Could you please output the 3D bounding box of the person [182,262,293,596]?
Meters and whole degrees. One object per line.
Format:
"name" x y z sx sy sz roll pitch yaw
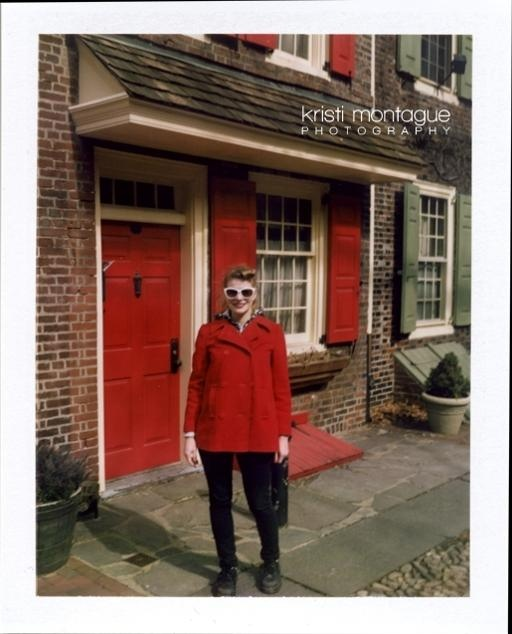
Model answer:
"person" -0.104 0.642 3.176 0.560 1.808 0.321 2 5 -4

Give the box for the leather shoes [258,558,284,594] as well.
"leather shoes" 0.070 1.455 3.329 0.084 0.122 0.230 0 -6 3

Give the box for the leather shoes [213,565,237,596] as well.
"leather shoes" -0.161 1.450 3.302 0.084 0.211 0.182 1 -3 21
